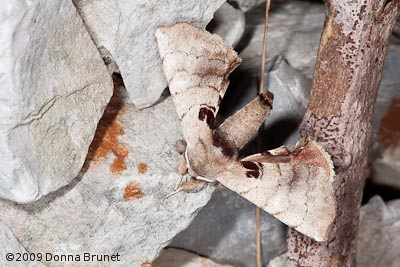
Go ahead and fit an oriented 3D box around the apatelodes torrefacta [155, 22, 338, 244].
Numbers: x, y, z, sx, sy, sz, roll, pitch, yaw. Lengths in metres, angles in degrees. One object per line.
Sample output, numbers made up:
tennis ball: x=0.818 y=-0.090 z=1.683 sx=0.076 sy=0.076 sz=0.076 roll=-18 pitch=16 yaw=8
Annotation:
apatelodes torrefacta: x=0.113 y=0.016 z=2.211 sx=0.342 sy=0.149 sz=0.777 roll=-42 pitch=83 yaw=-7
